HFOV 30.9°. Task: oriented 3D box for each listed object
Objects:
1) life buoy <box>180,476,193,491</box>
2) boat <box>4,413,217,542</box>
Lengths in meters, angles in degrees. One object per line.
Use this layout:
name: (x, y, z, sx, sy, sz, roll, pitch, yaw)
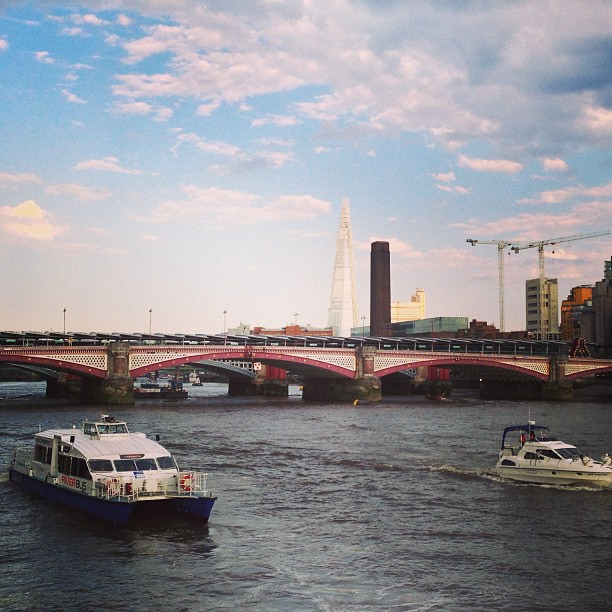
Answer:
life buoy: (-5.929, 8.665, 53.834, 0.442, 0.673, 0.272, 1, 2, -6)
boat: (-10.172, 8.681, 56.876, 4.899, 3.489, 12.274, 1, 0, -37)
